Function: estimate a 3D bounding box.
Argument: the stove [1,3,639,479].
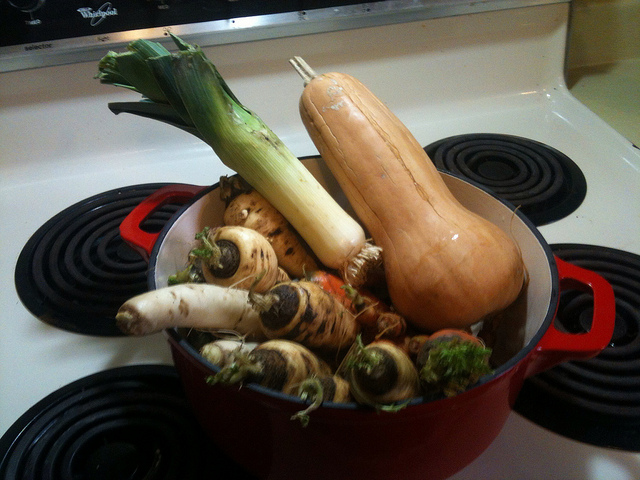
[{"bbox_3d":[-0.049,0.001,0.963,0.568,0.732,0.686,3,28,-16],"label":"stove"}]

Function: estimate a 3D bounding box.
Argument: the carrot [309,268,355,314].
[{"bbox_3d":[0.009,0.082,0.905,0.091,0.042,0.043,38,27,12],"label":"carrot"}]

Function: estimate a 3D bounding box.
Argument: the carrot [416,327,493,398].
[{"bbox_3d":[0.194,0.165,0.780,0.092,0.112,0.066,-6,73,17],"label":"carrot"}]

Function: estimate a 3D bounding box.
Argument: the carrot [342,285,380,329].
[{"bbox_3d":[0.070,0.121,0.899,0.045,0.143,0.051,-6,60,24],"label":"carrot"}]
